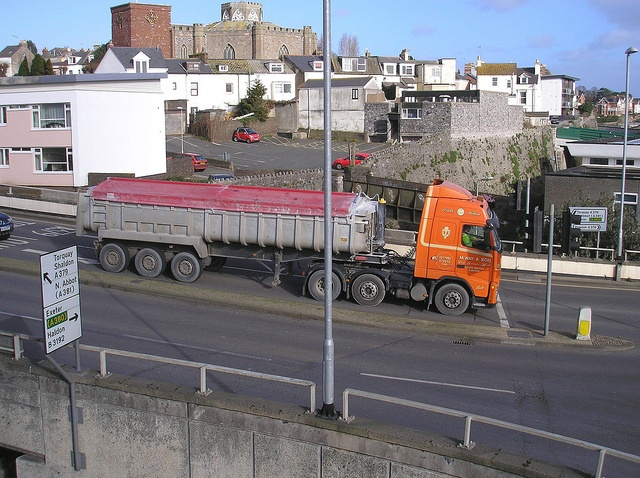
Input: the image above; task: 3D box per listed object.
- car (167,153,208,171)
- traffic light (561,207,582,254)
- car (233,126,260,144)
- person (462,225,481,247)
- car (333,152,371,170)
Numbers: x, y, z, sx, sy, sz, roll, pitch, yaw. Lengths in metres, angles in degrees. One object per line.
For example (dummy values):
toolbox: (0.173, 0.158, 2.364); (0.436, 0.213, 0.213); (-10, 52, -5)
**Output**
car: (-9.056, -5.368, 67.026); (2.511, 0.948, 1.221); (18, 22, 25)
traffic light: (9.252, -0.271, 36.181); (0.648, 1.548, 1.339); (2, 10, 14)
car: (-6.110, -8.615, 81.427); (1.783, 1.077, 1.156); (2, 9, 25)
person: (5.956, -0.110, 38.484); (0.808, 0.867, 0.347); (0, 0, 8)
car: (2.141, -5.471, 69.648); (2.049, 1.045, 1.267); (2, 17, -1)
